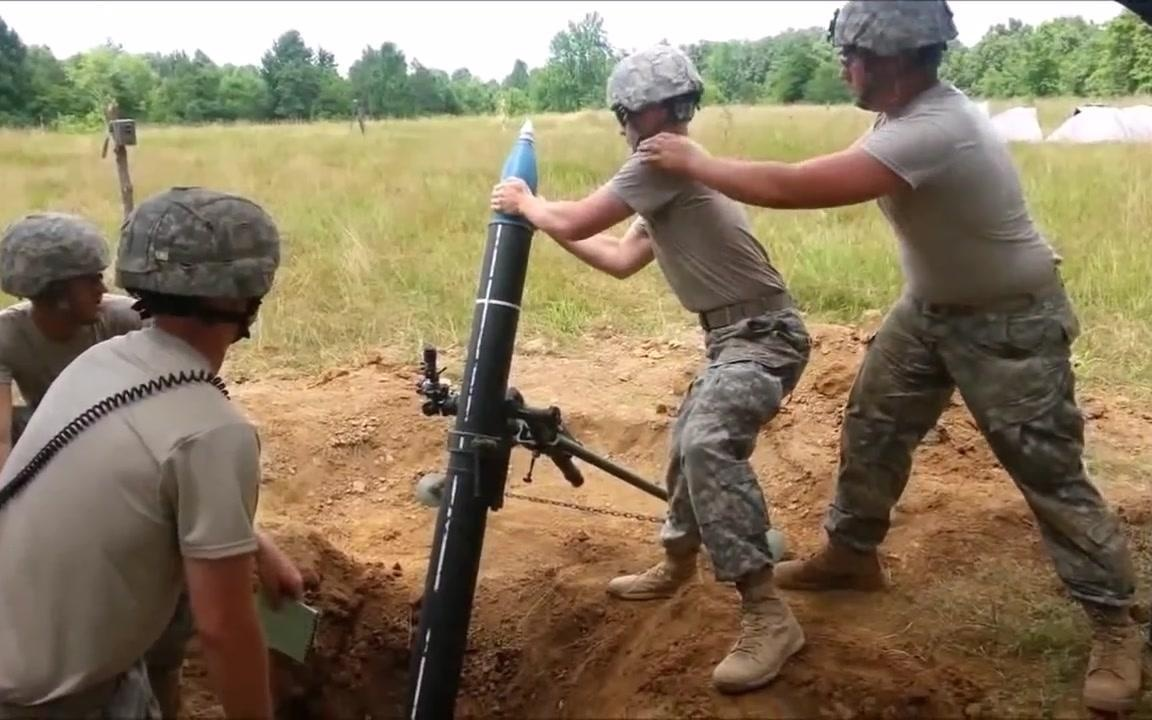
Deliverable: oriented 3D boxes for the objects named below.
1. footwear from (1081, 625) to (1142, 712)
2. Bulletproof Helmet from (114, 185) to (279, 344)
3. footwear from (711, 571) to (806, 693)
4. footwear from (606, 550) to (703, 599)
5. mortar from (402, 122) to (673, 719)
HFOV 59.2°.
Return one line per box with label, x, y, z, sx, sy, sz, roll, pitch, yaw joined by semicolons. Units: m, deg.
footwear;2.346;1.331;4.418;0.217;0.358;0.290;7;14;29
Bulletproof Helmet;-1.188;-0.322;3.400;0.554;0.449;0.410;10;3;-20
footwear;0.787;1.163;4.393;0.236;0.480;0.392;10;16;37
footwear;0.407;1.044;5.090;0.505;0.284;0.192;0;10;13
mortar;-0.393;0.229;4.437;1.114;2.503;0.602;-10;16;-37
